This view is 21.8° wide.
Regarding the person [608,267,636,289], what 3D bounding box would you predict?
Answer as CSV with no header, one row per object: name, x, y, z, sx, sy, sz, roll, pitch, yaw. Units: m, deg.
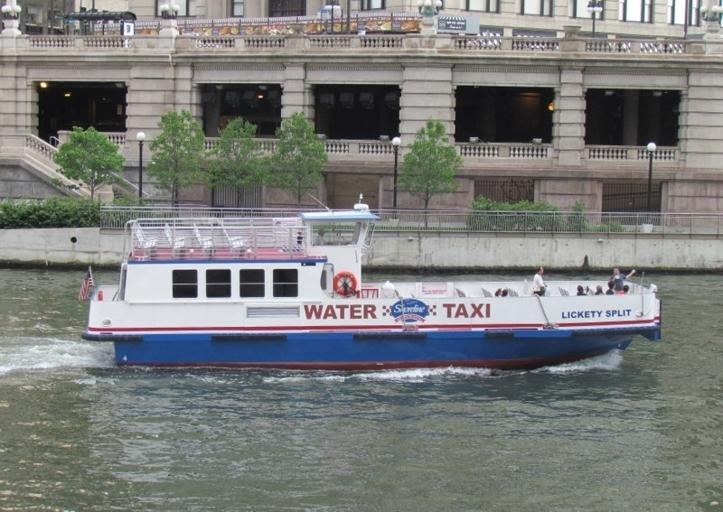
person,11.594,0.970,84.037,0.853,1.119,0.434,10,18,25
